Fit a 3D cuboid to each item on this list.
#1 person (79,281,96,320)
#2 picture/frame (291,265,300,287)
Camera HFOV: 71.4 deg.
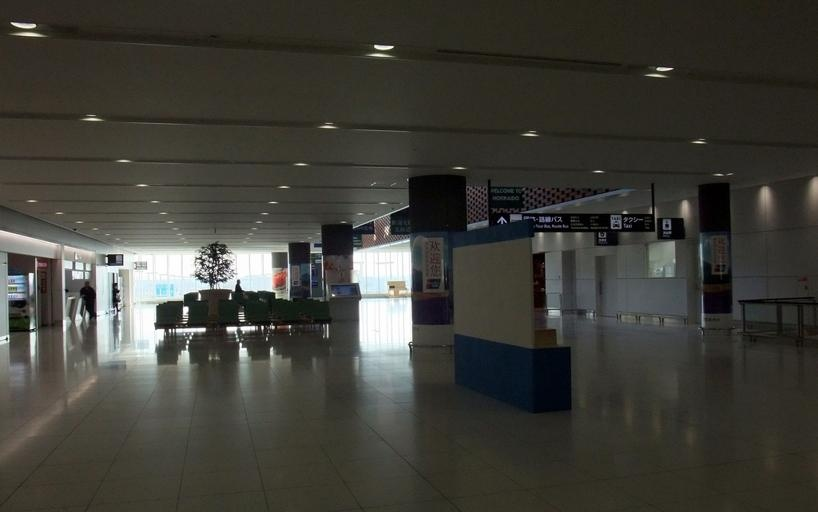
[{"bbox_3d":[-14.673,1.989,25.961,0.562,1.714,1.236,0,-4,-25],"label":"person"},{"bbox_3d":[-6.635,1.111,33.289,0.474,1.185,1.000,-1,-3,-10],"label":"picture/frame"}]
